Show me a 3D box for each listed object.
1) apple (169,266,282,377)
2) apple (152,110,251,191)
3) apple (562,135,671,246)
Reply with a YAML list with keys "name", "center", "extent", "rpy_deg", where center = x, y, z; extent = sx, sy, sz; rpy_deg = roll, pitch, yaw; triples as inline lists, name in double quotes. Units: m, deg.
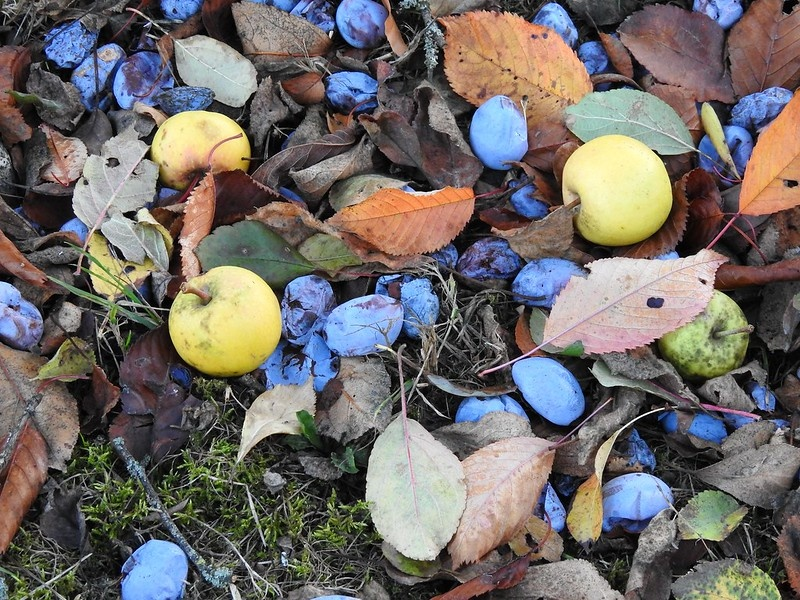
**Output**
- name: "apple"
  center: [-0.536, 0.060, 2.408]
  extent: [0.337, 0.192, 0.301]
  rpy_deg: [-27, 71, -9]
- name: "apple"
  center: [-0.664, -0.550, 2.762]
  extent: [0.307, 0.249, 0.310]
  rpy_deg: [3, 26, -3]
- name: "apple"
  center: [0.744, -0.375, 2.654]
  extent: [0.356, 0.381, 0.387]
  rpy_deg: [-14, 96, -40]
